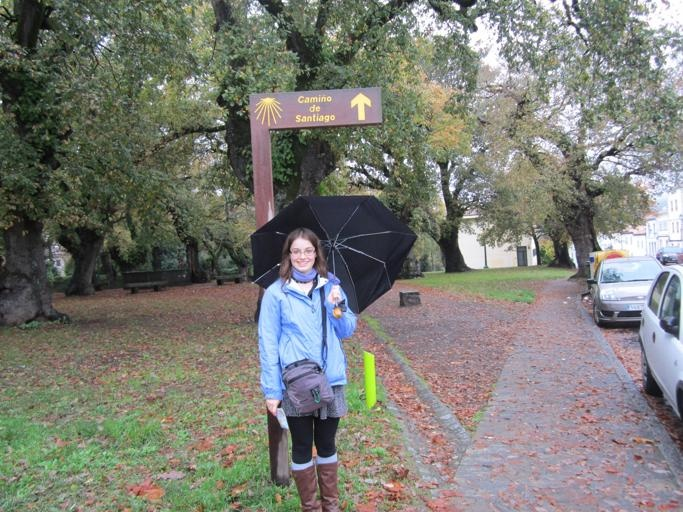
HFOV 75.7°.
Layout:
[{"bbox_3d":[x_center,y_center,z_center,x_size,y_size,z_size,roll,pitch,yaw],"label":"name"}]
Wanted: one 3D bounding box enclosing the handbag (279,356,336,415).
[{"bbox_3d":[-0.306,1.093,3.666,0.312,0.378,0.200,-25,-9,-7],"label":"handbag"}]
